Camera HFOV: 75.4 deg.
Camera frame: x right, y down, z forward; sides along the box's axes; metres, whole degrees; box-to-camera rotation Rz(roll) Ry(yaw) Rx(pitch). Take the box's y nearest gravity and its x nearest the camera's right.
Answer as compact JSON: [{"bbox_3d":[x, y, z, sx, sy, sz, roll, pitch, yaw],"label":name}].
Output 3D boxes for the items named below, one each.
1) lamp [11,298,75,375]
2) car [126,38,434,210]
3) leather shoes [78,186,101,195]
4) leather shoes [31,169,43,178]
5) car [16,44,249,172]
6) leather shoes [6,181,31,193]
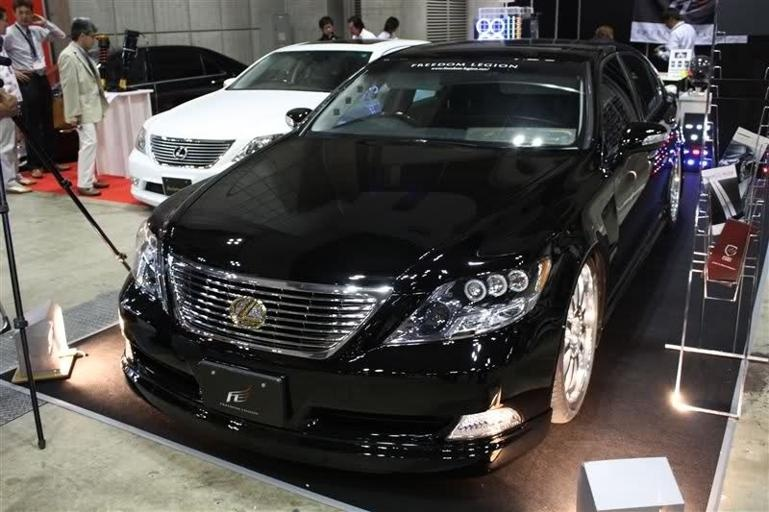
[{"bbox_3d":[-2.078,0.609,3.086,0.377,0.395,0.429,-3,-29,-34],"label":"lamp"},{"bbox_3d":[-0.980,-1.863,6.441,1.742,1.264,4.051,13,26,28],"label":"car"},{"bbox_3d":[-3.775,-0.857,6.442,0.318,0.121,0.112,-1,28,0],"label":"leather shoes"},{"bbox_3d":[-4.864,-1.165,7.012,0.099,0.070,0.182,-21,23,-30],"label":"leather shoes"},{"bbox_3d":[-3.953,-2.759,8.319,1.387,1.072,3.286,9,16,39],"label":"car"},{"bbox_3d":[-4.795,-0.902,6.489,0.375,0.147,0.113,1,29,-8],"label":"leather shoes"}]
